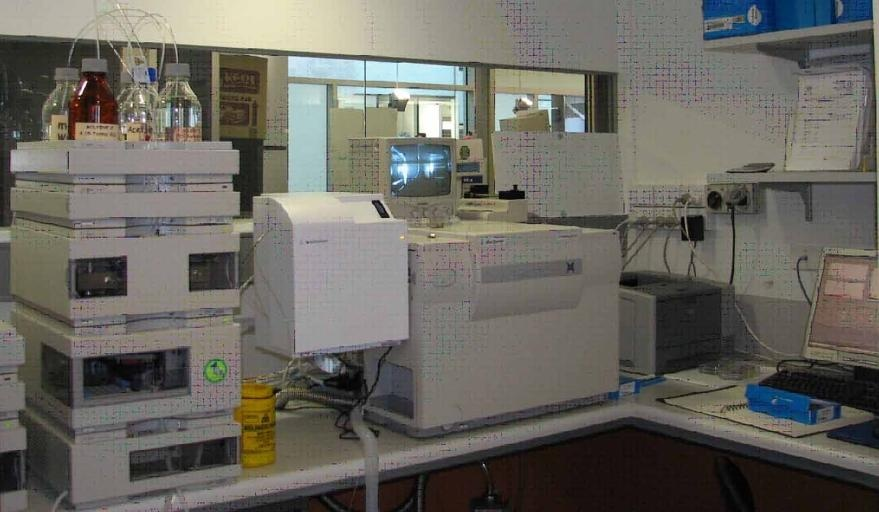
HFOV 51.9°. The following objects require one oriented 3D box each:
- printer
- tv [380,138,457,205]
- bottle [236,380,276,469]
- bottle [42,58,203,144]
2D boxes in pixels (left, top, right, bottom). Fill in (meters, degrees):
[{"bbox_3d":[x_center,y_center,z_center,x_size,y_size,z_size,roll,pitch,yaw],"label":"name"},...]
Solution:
[{"bbox_3d":[1.052,0.247,4.054,0.443,0.322,0.434,-4,7,-30],"label":"printer"},{"bbox_3d":[-0.106,-0.385,3.974,0.341,0.277,0.176,-3,7,-22],"label":"tv"},{"bbox_3d":[-0.669,0.605,3.325,0.137,0.284,0.146,-3,11,1],"label":"bottle"},{"bbox_3d":[-1.075,-0.523,3.162,0.370,0.228,0.374,-1,2,0],"label":"bottle"}]
